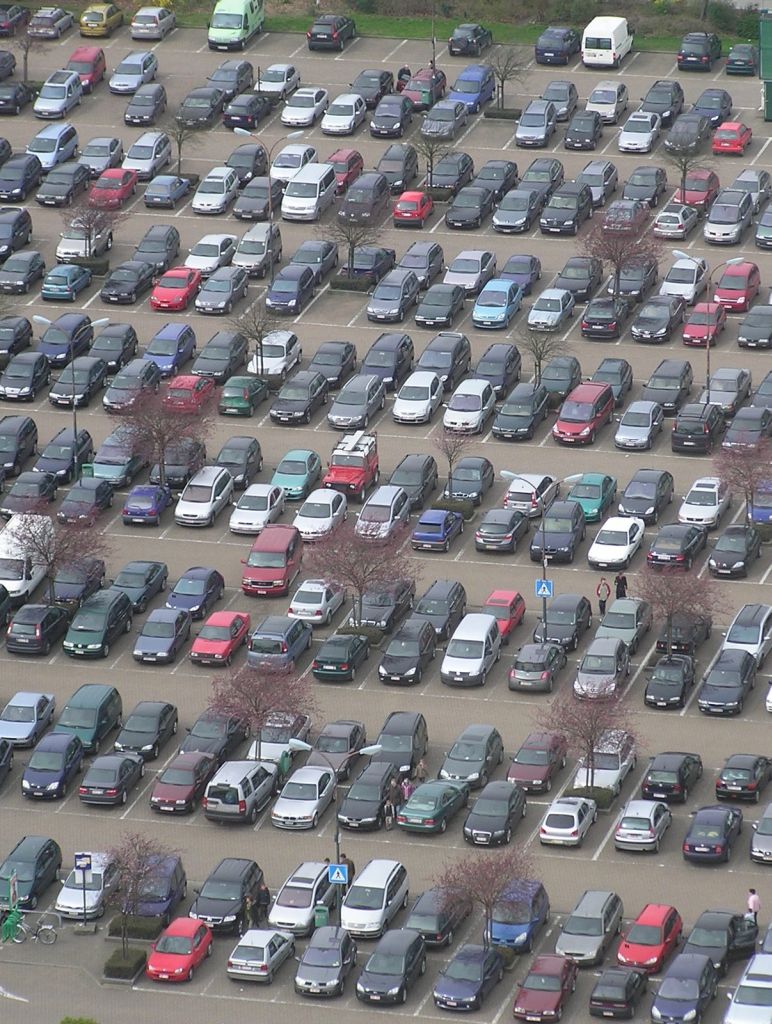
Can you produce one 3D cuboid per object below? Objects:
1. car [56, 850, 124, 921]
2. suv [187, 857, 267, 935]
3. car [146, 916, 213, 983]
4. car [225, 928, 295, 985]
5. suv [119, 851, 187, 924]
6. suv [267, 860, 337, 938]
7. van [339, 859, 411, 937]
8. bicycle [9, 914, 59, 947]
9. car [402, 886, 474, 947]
[{"bbox_3d":[-8.143,10.364,100.195,1.230,2.425,1.194,-5,-1,4],"label":"car"},{"bbox_3d":[-4.117,10.685,100.061,1.044,1.261,2.602,6,20,8],"label":"suv"},{"bbox_3d":[-5.388,11.851,97.871,0.956,0.983,1.892,10,31,12],"label":"car"},{"bbox_3d":[-3.266,11.842,97.520,1.078,1.243,2.184,2,23,32],"label":"car"},{"bbox_3d":[-6.167,10.318,100.034,0.808,2.219,2.629,0,21,25],"label":"suv"},{"bbox_3d":[-2.138,10.742,100.035,0.999,1.100,2.499,5,28,15],"label":"suv"},{"bbox_3d":[-0.240,10.671,99.539,0.975,0.948,2.343,8,27,13],"label":"van"},{"bbox_3d":[-9.448,11.415,99.984,0.958,0.853,0.707,0,4,4],"label":"bicycle"},{"bbox_3d":[1.461,10.844,98.661,0.800,0.863,2.332,6,28,11],"label":"car"}]
